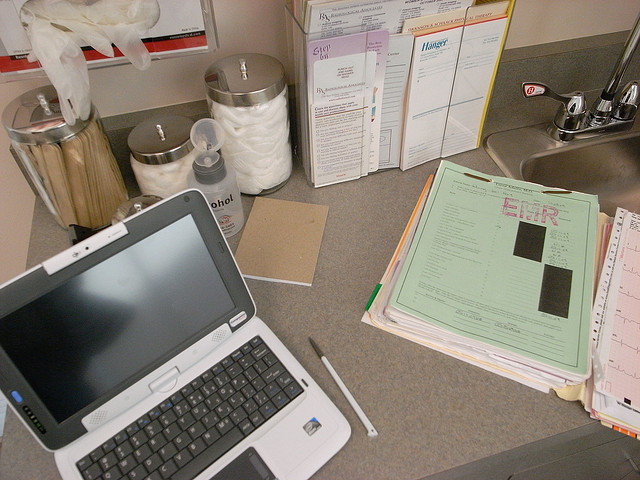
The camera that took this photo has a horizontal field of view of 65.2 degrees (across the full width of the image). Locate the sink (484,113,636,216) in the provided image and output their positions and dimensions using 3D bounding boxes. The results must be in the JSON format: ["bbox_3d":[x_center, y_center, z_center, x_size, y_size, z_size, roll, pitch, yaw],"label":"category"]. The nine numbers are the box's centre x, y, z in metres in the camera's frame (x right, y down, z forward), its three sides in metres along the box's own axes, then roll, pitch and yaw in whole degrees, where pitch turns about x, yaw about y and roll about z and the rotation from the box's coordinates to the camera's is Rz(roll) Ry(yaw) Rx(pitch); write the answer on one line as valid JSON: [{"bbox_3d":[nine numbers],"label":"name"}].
[{"bbox_3d":[0.581,-0.169,1.225,0.384,0.176,0.187,-9,43,-5],"label":"sink"}]

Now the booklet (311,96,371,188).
[{"bbox_3d":[0.040,-0.210,1.024,0.151,0.214,0.024,-13,46,-13],"label":"booklet"}]

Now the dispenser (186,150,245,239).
[{"bbox_3d":[-0.191,-0.083,0.899,0.080,0.139,0.080,-38,62,-24],"label":"dispenser"}]

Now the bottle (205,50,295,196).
[{"bbox_3d":[-0.148,-0.243,1.029,0.155,0.250,0.153,0,46,0],"label":"bottle"}]

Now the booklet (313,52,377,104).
[{"bbox_3d":[0.043,-0.315,0.950,0.107,0.080,0.006,-8,49,-6],"label":"booklet"}]

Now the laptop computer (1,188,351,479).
[{"bbox_3d":[-0.222,0.192,0.714,0.381,0.296,0.406,-33,51,-27],"label":"laptop computer"}]

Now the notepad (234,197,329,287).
[{"bbox_3d":[-0.077,0.009,0.978,0.165,0.010,0.259,11,47,12],"label":"notepad"}]
